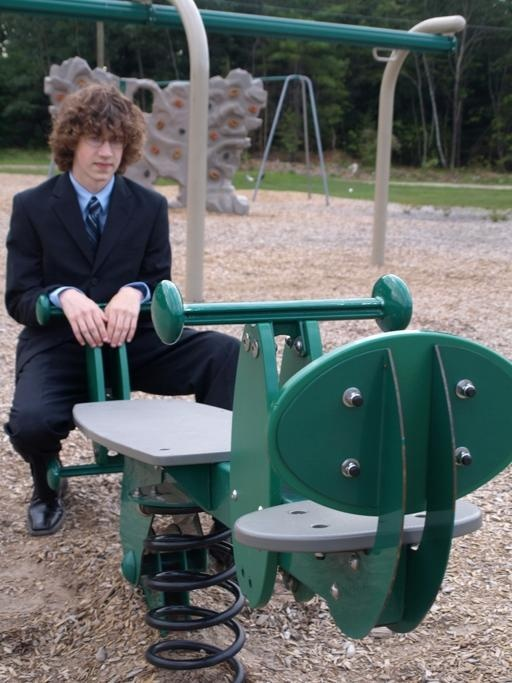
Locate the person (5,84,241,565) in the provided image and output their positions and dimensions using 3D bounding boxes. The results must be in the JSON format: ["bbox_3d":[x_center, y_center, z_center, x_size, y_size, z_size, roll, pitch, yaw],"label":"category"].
[{"bbox_3d":[-0.405,-0.084,2.471,0.692,1.256,0.656,1,13,-2],"label":"person"}]

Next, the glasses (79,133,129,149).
[{"bbox_3d":[-0.416,-0.546,2.373,0.121,0.030,0.047,-1,13,-12],"label":"glasses"}]
